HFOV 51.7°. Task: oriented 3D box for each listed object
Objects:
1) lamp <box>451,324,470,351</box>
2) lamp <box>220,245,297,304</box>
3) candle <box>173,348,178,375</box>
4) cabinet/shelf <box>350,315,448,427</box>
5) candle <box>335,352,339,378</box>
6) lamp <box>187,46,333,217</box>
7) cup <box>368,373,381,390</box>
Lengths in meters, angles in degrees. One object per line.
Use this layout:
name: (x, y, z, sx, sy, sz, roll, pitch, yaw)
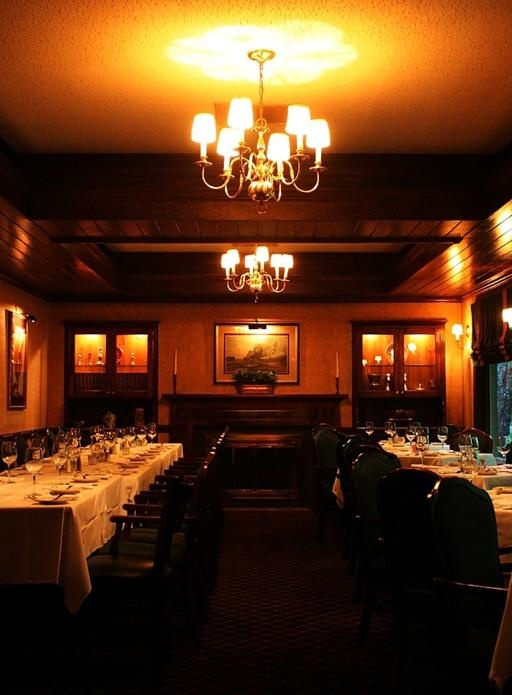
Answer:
lamp: (3.337, -0.180, 8.570, 0.239, 0.425, 0.424, -1, -3, 10)
lamp: (-0.002, -1.030, 6.940, 0.796, 0.685, 0.770, 3, -6, -29)
candle: (-1.313, 0.238, 8.558, 0.079, 0.408, 0.084, -1, -3, -4)
cabinet/shelf: (2.305, 0.306, 8.606, 1.779, 2.428, 0.573, 0, -5, -2)
candle: (1.312, 0.288, 8.570, 0.053, 0.376, 0.083, -2, -3, 22)
lamp: (0.029, -1.281, 3.124, 0.756, 0.933, 0.865, -5, 11, -32)
cup: (1.927, 0.550, 8.584, 0.233, 0.258, 0.225, 1, 1, 0)
